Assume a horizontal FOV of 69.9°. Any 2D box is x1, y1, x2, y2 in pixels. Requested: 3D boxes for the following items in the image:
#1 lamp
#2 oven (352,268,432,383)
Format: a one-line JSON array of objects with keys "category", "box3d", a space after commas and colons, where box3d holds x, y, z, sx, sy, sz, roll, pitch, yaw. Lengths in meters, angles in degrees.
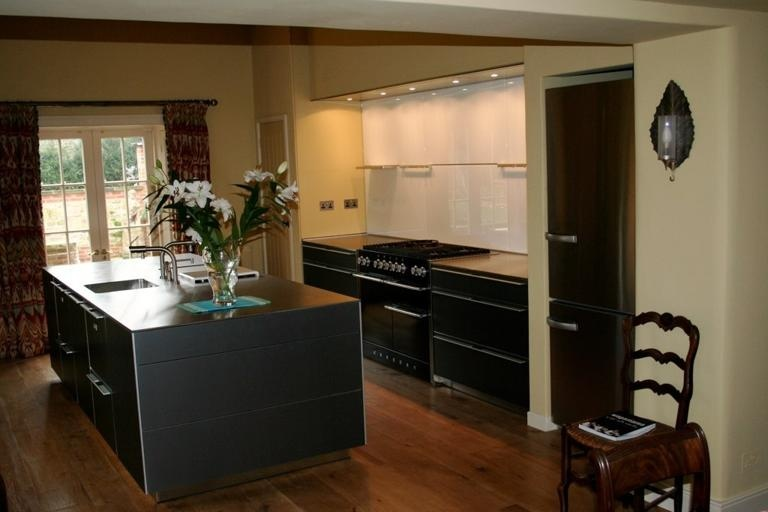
[{"category": "lamp", "box3d": [1.725, -0.762, 3.257, 0.212, 0.539, 0.103, 4, 12, 29]}, {"category": "oven", "box3d": [0.293, 0.633, 5.948, 0.749, 1.058, 1.074, -12, 15, -40]}]
